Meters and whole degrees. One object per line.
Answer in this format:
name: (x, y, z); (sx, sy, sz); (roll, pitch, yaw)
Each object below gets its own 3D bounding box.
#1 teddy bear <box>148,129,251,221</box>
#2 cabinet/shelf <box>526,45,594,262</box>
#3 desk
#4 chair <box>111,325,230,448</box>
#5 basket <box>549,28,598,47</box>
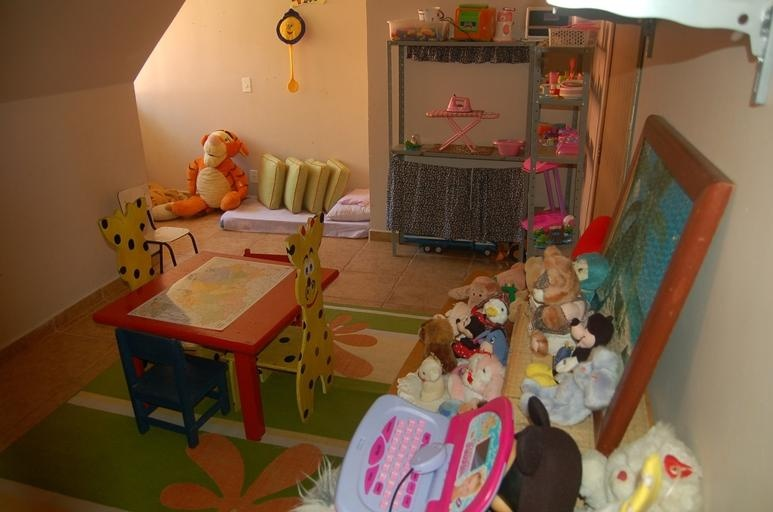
teddy bear: (-2.040, -0.922, 5.873); (1.050, 0.986, 0.641); (-4, 11, -17)
cabinet/shelf: (1.242, -0.807, 3.907); (0.519, 1.413, 1.345); (7, 22, 13)
desk: (-0.837, 0.359, 3.063); (1.030, 0.687, 1.066); (5, 21, 20)
chair: (-1.143, 0.708, 2.816); (0.413, 0.676, 0.395); (9, 38, 13)
basket: (1.181, -1.413, 3.419); (0.175, 0.081, 0.190); (13, 29, 25)
